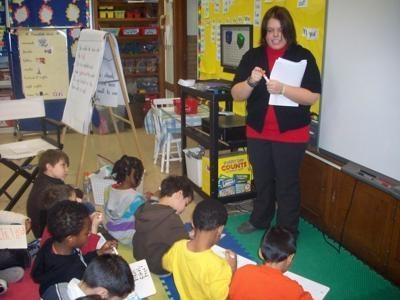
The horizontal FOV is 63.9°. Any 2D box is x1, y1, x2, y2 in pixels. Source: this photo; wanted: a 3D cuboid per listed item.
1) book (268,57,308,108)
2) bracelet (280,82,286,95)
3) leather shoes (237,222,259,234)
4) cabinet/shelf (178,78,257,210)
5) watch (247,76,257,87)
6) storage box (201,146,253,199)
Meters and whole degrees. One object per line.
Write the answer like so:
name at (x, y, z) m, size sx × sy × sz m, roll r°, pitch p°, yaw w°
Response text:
book at (0.643, -0.468, 2.300) m, size 0.296 × 0.335 × 0.096 m, roll 9°, pitch 7°, yaw -3°
bracelet at (0.610, -0.443, 2.360) m, size 0.040 × 0.051 × 0.056 m, roll 21°, pitch -14°, yaw -10°
leather shoes at (0.422, 0.697, 2.901) m, size 0.152 × 0.065 × 0.090 m, roll 0°, pitch 12°, yaw -11°
cabinet/shelf at (0.022, -0.202, 3.484) m, size 0.591 × 0.952 × 0.787 m, roll 5°, pitch 1°, yaw 0°
watch at (0.400, -0.521, 2.476) m, size 0.057 × 0.077 × 0.094 m, roll -3°, pitch 12°, yaw -14°
storage box at (0.279, 0.235, 3.290) m, size 0.465 × 0.466 × 0.229 m, roll -3°, pitch 11°, yaw -21°
